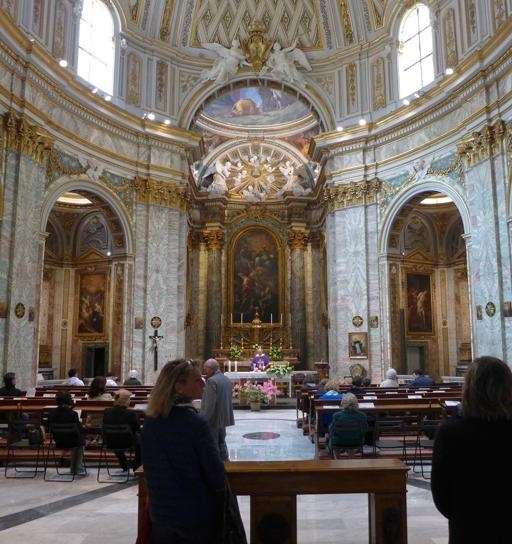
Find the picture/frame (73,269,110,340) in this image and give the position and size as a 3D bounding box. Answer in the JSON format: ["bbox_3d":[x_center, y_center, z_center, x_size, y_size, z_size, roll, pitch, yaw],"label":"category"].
[{"bbox_3d":[-5.994,1.165,20.372,1.426,2.571,0.377,-8,-13,34],"label":"picture/frame"}]

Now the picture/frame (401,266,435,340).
[{"bbox_3d":[6.057,1.182,20.999,1.365,2.414,0.316,8,-14,-39],"label":"picture/frame"}]

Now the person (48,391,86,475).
[{"bbox_3d":[-2.384,2.047,7.106,0.470,1.019,0.374,3,-11,-17],"label":"person"}]

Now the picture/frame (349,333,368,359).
[{"bbox_3d":[3.172,2.320,17.501,0.742,0.980,0.105,-5,-14,22],"label":"picture/frame"}]

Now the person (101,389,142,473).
[{"bbox_3d":[-1.653,1.989,6.911,0.450,1.038,1.582,2,-11,-14],"label":"person"}]

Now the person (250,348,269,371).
[{"bbox_3d":[0.130,3.095,19.487,0.755,1.110,0.669,0,-21,-1],"label":"person"}]
